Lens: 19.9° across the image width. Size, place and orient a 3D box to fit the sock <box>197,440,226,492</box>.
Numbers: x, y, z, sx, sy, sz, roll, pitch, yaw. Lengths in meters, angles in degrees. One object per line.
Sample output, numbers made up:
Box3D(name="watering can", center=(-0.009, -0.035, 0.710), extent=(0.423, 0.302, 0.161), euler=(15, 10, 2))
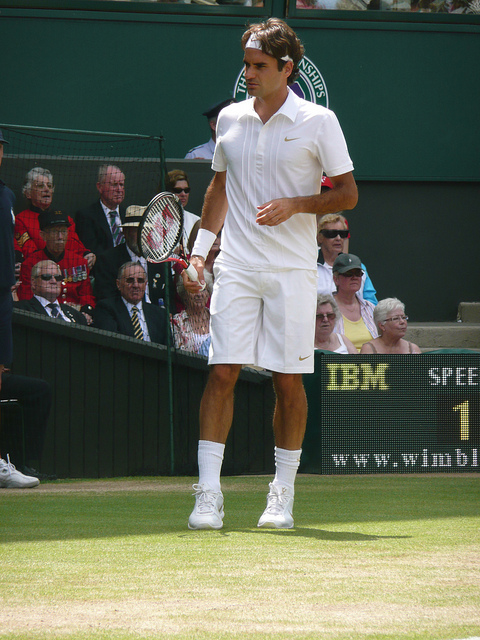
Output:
Box3D(name="sock", center=(-0.104, 0.540, 5.051), extent=(0.092, 0.187, 0.122), euler=(-2, 3, -2))

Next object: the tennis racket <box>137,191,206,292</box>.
Box3D(name="tennis racket", center=(-0.329, -0.380, 5.691), extent=(0.194, 0.294, 0.432), euler=(-2, 3, -4))

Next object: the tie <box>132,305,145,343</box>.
Box3D(name="tie", center=(-0.587, 0.019, 7.921), extent=(0.066, 0.181, 0.132), euler=(-2, 3, -5))

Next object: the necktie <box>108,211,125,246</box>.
Box3D(name="necktie", center=(-0.760, -0.563, 8.463), extent=(0.064, 0.206, 0.169), euler=(-2, 3, -14))

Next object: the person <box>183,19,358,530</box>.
Box3D(name="person", center=(0.091, -0.186, 5.079), extent=(0.667, 1.879, 0.612), euler=(-1, 3, 10))

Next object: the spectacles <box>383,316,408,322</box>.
Box3D(name="spectacles", center=(0.820, -0.005, 6.965), extent=(0.085, 0.025, 0.212), euler=(0, 4, 32))

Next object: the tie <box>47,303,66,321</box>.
Box3D(name="tie", center=(-1.022, -0.046, 7.610), extent=(0.073, 0.086, 0.077), euler=(1, 4, 35))
